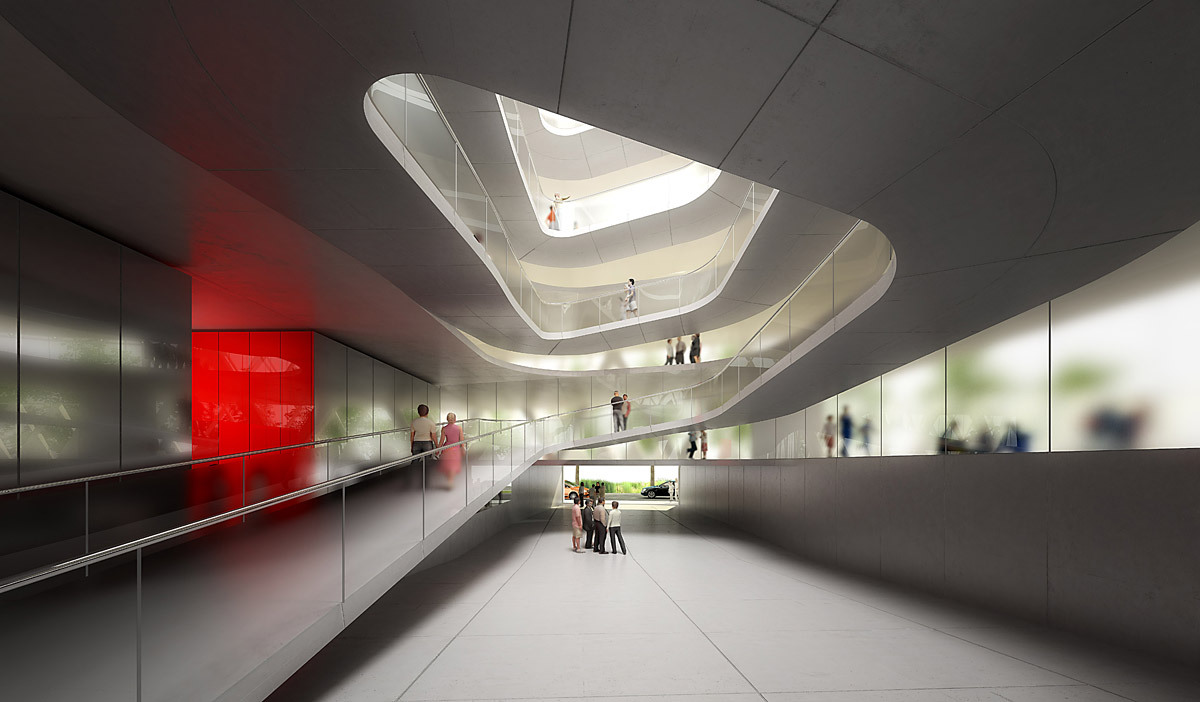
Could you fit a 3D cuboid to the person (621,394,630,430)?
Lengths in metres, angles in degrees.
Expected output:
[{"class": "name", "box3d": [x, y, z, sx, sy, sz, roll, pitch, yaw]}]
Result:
[{"class": "person", "box3d": [0.774, 1.943, 20.404, 0.248, 0.868, 0.374, 0, -1, 2]}]

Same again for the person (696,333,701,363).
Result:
[{"class": "person", "box3d": [3.171, -0.061, 22.581, 0.189, 0.941, 0.134, 0, -1, 12]}]

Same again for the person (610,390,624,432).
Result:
[{"class": "person", "box3d": [0.521, 1.936, 20.446, 0.410, 0.989, 0.271, 0, -1, 9]}]
